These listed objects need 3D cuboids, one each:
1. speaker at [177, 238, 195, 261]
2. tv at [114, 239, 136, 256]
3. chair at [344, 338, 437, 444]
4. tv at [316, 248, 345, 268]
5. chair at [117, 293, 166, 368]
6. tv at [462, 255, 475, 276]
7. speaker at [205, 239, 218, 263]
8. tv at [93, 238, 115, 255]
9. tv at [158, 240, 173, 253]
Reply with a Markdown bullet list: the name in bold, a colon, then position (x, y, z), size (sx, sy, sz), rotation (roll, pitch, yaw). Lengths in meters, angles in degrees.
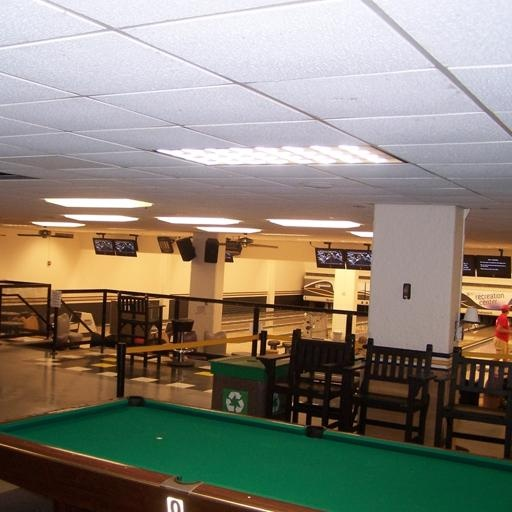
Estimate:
- **speaker**: position (-1.794, -0.181, 12.330), size (0.401, 0.577, 0.574), rotation (2, -5, 14)
- **tv**: position (-4.329, -0.300, 16.066), size (1.167, 0.569, 0.413), rotation (-1, -6, 40)
- **chair**: position (1.327, 1.392, 4.863), size (0.848, 0.857, 0.665), rotation (0, -7, 29)
- **tv**: position (2.090, 0.040, 13.479), size (0.379, 0.585, 1.106), rotation (7, -6, -39)
- **chair**: position (-2.582, 1.523, 10.290), size (0.856, 1.115, 0.639), rotation (1, -17, 10)
- **tv**: position (5.153, 0.230, 11.621), size (0.277, 0.490, 0.454), rotation (1, -5, 22)
- **speaker**: position (-1.139, -0.137, 12.313), size (0.342, 0.662, 0.236), rotation (4, -5, -6)
- **tv**: position (-5.204, -0.346, 16.597), size (1.098, 0.593, 0.385), rotation (-2, -7, 43)
- **tv**: position (-2.930, -0.306, 15.261), size (0.520, 0.417, 0.120), rotation (-1, 18, 16)
